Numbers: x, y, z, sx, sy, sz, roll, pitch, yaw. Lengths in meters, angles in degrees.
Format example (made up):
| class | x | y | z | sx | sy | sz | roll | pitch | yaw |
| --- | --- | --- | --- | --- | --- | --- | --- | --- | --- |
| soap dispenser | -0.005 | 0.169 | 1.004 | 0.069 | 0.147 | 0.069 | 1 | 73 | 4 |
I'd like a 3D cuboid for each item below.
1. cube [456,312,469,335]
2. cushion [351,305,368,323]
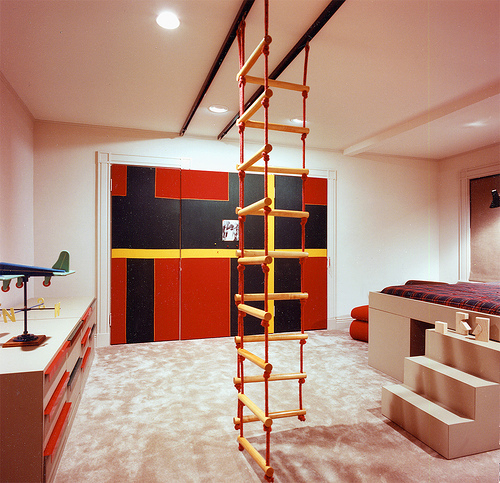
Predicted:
| class | x | y | z | sx | sy | sz | roll | pitch | yaw |
| --- | --- | --- | --- | --- | --- | --- | --- | --- | --- |
| cube | 1.368 | 0.531 | 2.703 | 0.072 | 0.127 | 0.104 | 2 | 4 | 28 |
| cushion | 1.251 | 0.819 | 4.755 | 0.205 | 0.099 | 0.215 | 0 | -4 | -23 |
